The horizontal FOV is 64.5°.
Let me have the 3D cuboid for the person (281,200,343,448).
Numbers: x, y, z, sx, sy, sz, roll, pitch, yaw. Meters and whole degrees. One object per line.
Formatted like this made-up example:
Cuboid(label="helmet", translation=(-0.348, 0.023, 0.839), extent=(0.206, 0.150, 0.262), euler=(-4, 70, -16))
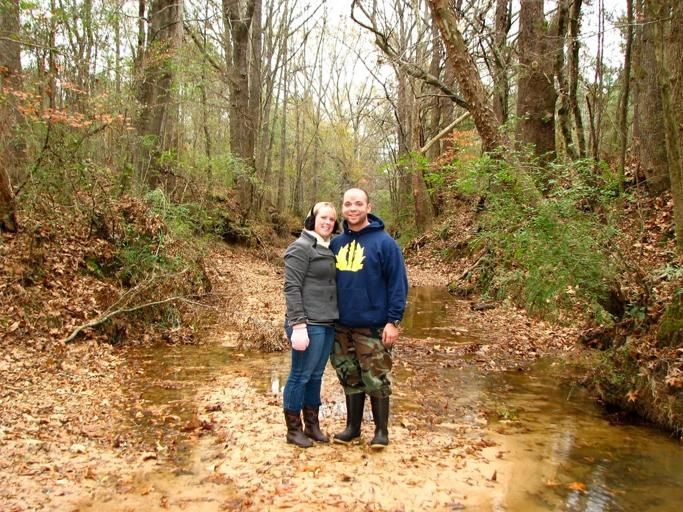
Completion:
Cuboid(label="person", translation=(-0.364, 0.844, 6.658), extent=(0.712, 2.953, 0.395), euler=(-4, 5, -36))
